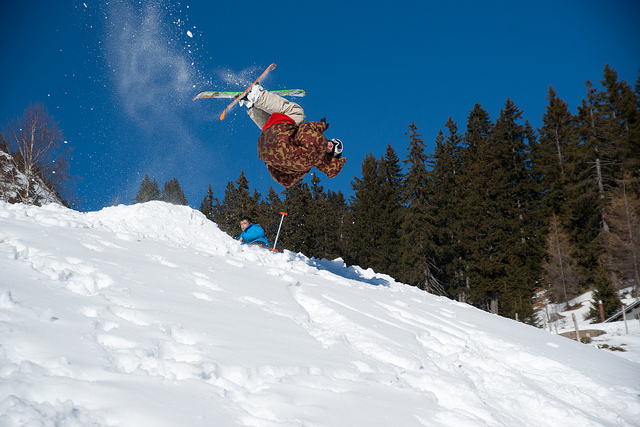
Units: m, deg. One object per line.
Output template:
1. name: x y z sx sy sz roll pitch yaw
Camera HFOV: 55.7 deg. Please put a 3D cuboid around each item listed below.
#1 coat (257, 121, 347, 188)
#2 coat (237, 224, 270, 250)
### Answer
1. coat: -0.726 -2.163 21.519 3.224 1.283 2.436 19 -44 -31
2. coat: -2.766 0.942 25.299 1.018 0.791 0.801 3 1 -33
